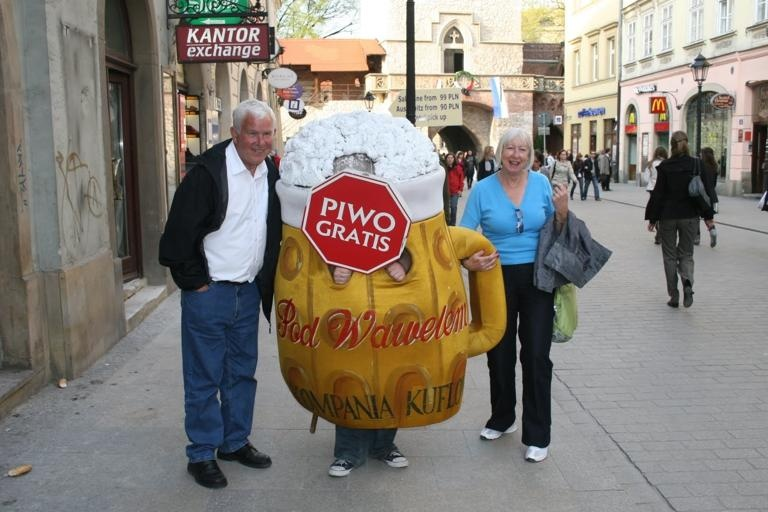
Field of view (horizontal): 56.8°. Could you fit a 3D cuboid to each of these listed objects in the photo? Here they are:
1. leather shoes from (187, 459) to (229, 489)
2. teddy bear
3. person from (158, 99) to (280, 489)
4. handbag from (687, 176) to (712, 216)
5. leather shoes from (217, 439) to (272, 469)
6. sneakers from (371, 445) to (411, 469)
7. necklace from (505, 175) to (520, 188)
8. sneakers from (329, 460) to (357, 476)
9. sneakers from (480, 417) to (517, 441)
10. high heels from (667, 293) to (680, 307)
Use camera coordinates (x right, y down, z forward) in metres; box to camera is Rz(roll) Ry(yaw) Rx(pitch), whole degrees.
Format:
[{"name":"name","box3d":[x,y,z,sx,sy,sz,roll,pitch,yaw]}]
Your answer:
[{"name":"leather shoes","box3d":[-1.261,1.569,5.097,0.317,0.133,0.128,2,-1,44]},{"name":"teddy bear","box3d":[-0.078,0.095,4.939,1.377,2.137,0.580,-1,11,-6]},{"name":"person","box3d":[-1.155,0.405,5.157,0.839,2.397,0.496,-4,12,-21]},{"name":"handbag","box3d":[4.369,-0.838,9.832,0.277,0.580,0.441,-12,17,28]},{"name":"leather shoes","box3d":[-1.018,1.490,5.425,0.447,0.200,0.168,5,0,8]},{"name":"sneakers","box3d":[0.053,1.504,5.341,0.116,0.119,0.314,3,-4,-41]},{"name":"necklace","box3d":[1.008,-0.584,5.482,0.089,0.069,0.089,0,4,-3]},{"name":"sneakers","box3d":[-0.308,1.554,5.220,0.196,0.132,0.120,0,11,-5]},{"name":"sneakers","box3d":[0.950,1.424,5.855,0.327,0.137,0.124,0,3,-25]},{"name":"high heels","box3d":[3.961,0.599,9.676,0.089,0.159,0.221,1,13,3]}]
